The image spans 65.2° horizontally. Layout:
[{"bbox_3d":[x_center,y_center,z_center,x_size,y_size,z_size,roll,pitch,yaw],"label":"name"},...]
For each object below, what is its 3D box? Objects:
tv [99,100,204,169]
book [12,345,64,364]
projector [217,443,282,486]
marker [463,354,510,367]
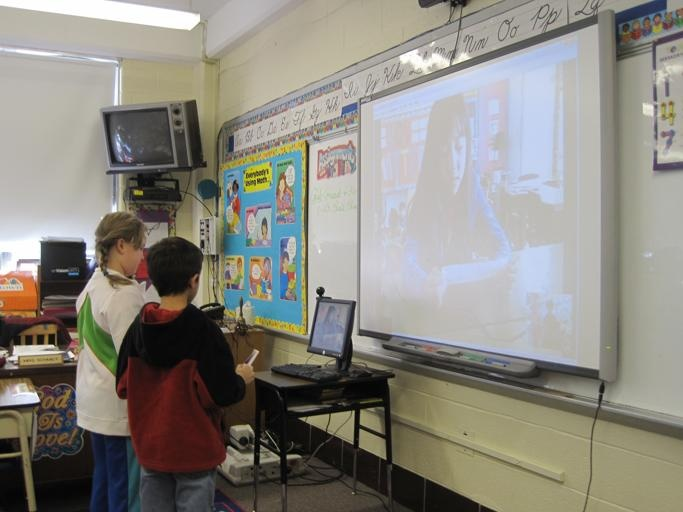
[{"bbox_3d":[-1.926,-1.134,5.565,1.113,0.852,0.640,-4,4,14],"label":"tv"},{"bbox_3d":[-2.097,0.658,3.681,0.319,0.076,0.527,-2,3,-33],"label":"book"},{"bbox_3d":[-0.684,1.514,3.883,0.451,0.196,0.588,2,-2,-28],"label":"projector"},{"bbox_3d":[0.790,0.563,2.929,0.253,0.039,0.067,3,41,37],"label":"marker"}]
